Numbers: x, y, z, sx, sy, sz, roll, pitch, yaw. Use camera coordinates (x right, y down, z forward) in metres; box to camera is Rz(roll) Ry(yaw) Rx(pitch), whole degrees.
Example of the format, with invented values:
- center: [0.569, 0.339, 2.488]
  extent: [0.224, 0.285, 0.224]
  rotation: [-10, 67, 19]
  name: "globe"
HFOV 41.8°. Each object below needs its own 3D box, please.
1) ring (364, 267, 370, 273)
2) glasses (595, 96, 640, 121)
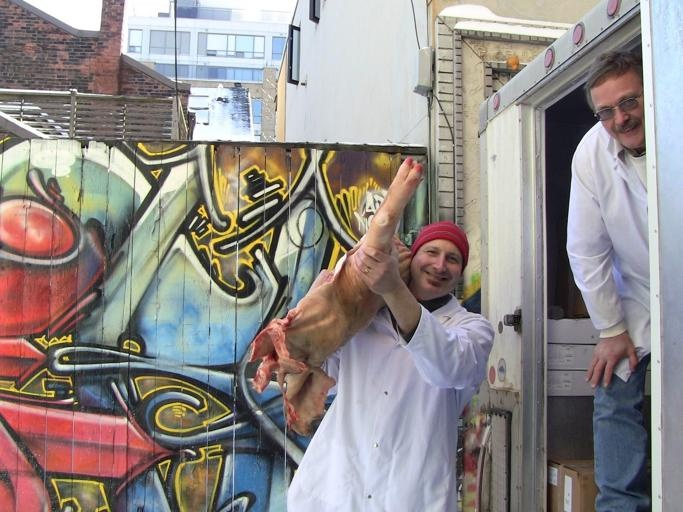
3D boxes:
- center: [0.148, 0.081, 5.182]
  extent: [0.025, 0.034, 0.007]
  rotation: [4, 0, 15]
  name: "ring"
- center: [1.770, -0.941, 5.755]
  extent: [0.295, 0.145, 0.079]
  rotation: [-1, -6, 37]
  name: "glasses"
